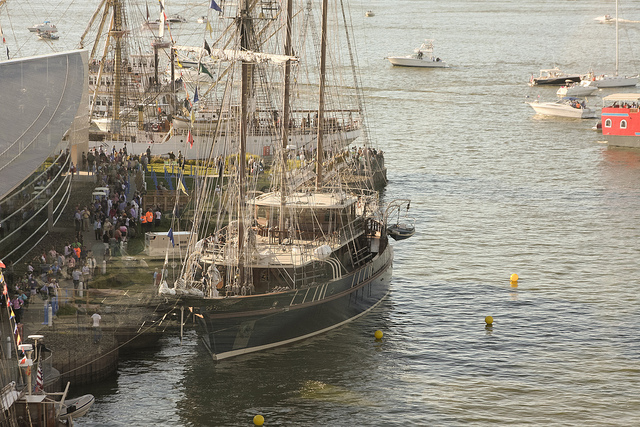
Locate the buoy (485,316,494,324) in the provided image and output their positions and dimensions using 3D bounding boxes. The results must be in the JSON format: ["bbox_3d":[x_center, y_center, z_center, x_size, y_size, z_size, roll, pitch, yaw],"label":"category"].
[{"bbox_3d":[14.697,9.467,119.896,0.620,0.615,0.566,15,43,-2],"label":"buoy"}]

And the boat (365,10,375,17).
[{"bbox_3d":[15.704,-63.363,441.109,1.936,1.363,3.604,-1,4,4],"label":"boat"}]

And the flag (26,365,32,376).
[{"bbox_3d":[-21.919,11.770,102.901,0.367,0.826,0.277,4,11,6],"label":"flag"}]

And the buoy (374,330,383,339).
[{"bbox_3d":[4.957,10.436,117.751,0.593,0.565,0.566,-10,21,11],"label":"buoy"}]

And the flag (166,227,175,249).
[{"bbox_3d":[-13.149,2.335,120.047,0.269,0.775,2.317,-40,27,10],"label":"flag"}]

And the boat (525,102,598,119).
[{"bbox_3d":[34.897,-14.491,197.451,9.608,2.097,3.288,4,5,7],"label":"boat"}]

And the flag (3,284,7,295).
[{"bbox_3d":[-23.847,5.886,103.625,0.219,0.696,0.866,-2,11,-23],"label":"flag"}]

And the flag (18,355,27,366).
[{"bbox_3d":[-22.562,11.214,103.960,0.906,0.853,0.041,14,21,12],"label":"flag"}]
